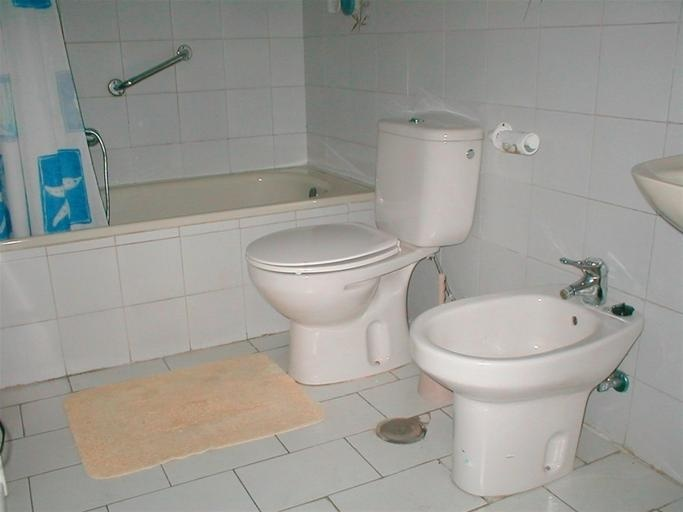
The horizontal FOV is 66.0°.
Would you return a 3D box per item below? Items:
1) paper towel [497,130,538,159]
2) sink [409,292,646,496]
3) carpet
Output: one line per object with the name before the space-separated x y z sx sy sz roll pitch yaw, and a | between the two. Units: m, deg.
paper towel | 0.634 -0.395 1.909 0.105 0.099 0.110 -5 17 -44
sink | 0.549 0.431 1.739 0.669 0.548 0.434 -12 24 -24
carpet | -0.602 0.603 2.108 0.955 0.012 0.580 -9 23 -19
